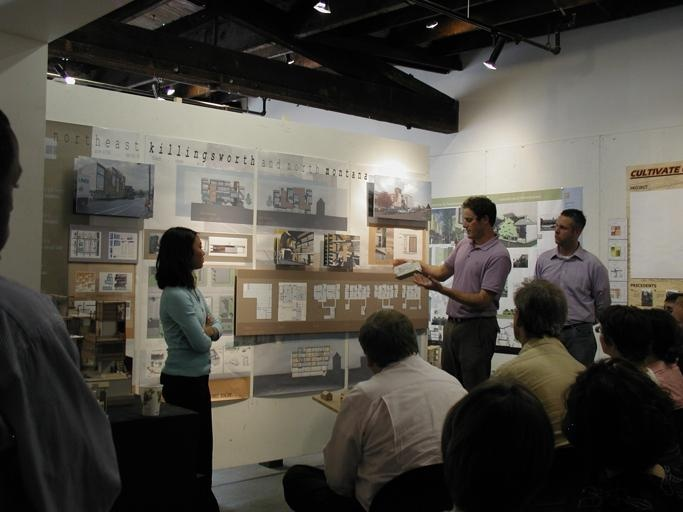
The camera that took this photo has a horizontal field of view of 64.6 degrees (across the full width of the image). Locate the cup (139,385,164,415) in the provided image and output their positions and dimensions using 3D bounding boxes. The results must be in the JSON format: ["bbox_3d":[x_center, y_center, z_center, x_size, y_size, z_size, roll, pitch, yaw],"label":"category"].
[{"bbox_3d":[-1.030,0.783,2.977,0.130,0.151,0.141,3,2,0],"label":"cup"}]

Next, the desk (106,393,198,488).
[{"bbox_3d":[-1.008,0.987,2.854,0.391,0.416,0.399,1,-3,-22],"label":"desk"}]
